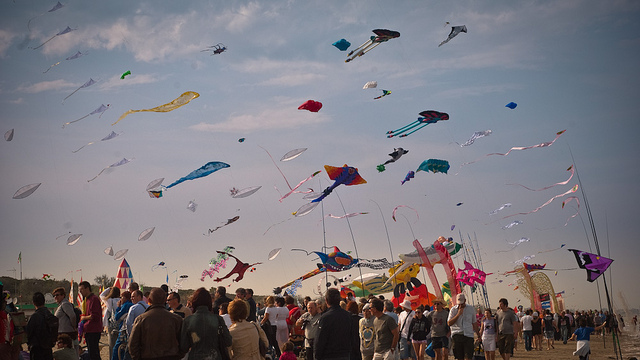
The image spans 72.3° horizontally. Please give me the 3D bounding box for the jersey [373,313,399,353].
[{"bbox_3d":[1.712,4.054,11.535,0.592,0.933,1.027,-3,-13,22],"label":"jersey"}]

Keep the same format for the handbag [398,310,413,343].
[{"bbox_3d":[2.831,4.942,14.805,0.385,0.949,0.857,2,-17,-14],"label":"handbag"}]

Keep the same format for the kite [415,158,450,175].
[{"bbox_3d":[5.341,-0.602,20.377,1.198,0.896,1.414,-6,-17,13],"label":"kite"}]

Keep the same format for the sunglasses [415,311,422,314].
[{"bbox_3d":[3.392,4.603,15.192,0.100,0.084,0.210,7,-19,-29],"label":"sunglasses"}]

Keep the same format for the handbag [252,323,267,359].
[{"bbox_3d":[-1.344,3.661,9.975,0.146,0.748,0.371,-14,-21,33],"label":"handbag"}]

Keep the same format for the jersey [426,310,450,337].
[{"bbox_3d":[4.195,4.925,15.057,0.552,0.909,1.019,2,-15,-41],"label":"jersey"}]

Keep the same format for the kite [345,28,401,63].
[{"bbox_3d":[1.972,-4.491,14.056,0.896,0.346,1.408,25,29,10],"label":"kite"}]

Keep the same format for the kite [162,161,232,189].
[{"bbox_3d":[-3.301,-0.251,12.613,1.954,0.578,0.203,-21,11,7],"label":"kite"}]

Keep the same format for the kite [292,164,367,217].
[{"bbox_3d":[0.268,0.469,18.220,2.351,3.371,0.771,25,-43,38],"label":"kite"}]

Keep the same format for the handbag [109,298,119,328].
[{"bbox_3d":[-6.264,4.038,13.345,0.229,0.867,1.095,6,-18,-25],"label":"handbag"}]

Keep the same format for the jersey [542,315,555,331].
[{"bbox_3d":[11.440,7.162,21.912,0.446,0.748,0.792,-10,-18,23],"label":"jersey"}]

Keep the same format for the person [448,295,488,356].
[{"bbox_3d":[4.619,4.612,13.915,0.938,1.841,0.813,4,-18,-19],"label":"person"}]

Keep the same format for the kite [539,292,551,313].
[{"bbox_3d":[17.970,9.611,34.912,0.678,1.191,1.038,-12,-20,30],"label":"kite"}]

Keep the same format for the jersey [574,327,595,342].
[{"bbox_3d":[9.017,5.232,14.868,0.393,0.447,0.599,7,-19,-28],"label":"jersey"}]

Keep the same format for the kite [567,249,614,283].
[{"bbox_3d":[8.431,2.668,13.555,0.917,0.928,0.507,2,-18,-15],"label":"kite"}]

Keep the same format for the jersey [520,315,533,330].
[{"bbox_3d":[9.905,6.798,20.900,0.445,0.676,0.649,-9,-18,21],"label":"jersey"}]

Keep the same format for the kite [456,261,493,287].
[{"bbox_3d":[8.981,5.624,26.272,1.465,1.385,2.151,-3,-16,1],"label":"kite"}]

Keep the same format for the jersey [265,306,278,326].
[{"bbox_3d":[-1.546,4.441,14.218,0.431,0.577,0.134,11,-22,-38],"label":"jersey"}]

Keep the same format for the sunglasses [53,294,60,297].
[{"bbox_3d":[-7.443,3.266,12.390,0.147,0.128,0.042,-5,-10,5],"label":"sunglasses"}]

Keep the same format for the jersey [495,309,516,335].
[{"bbox_3d":[6.772,5.138,15.903,0.536,0.842,0.809,16,-20,-35],"label":"jersey"}]
